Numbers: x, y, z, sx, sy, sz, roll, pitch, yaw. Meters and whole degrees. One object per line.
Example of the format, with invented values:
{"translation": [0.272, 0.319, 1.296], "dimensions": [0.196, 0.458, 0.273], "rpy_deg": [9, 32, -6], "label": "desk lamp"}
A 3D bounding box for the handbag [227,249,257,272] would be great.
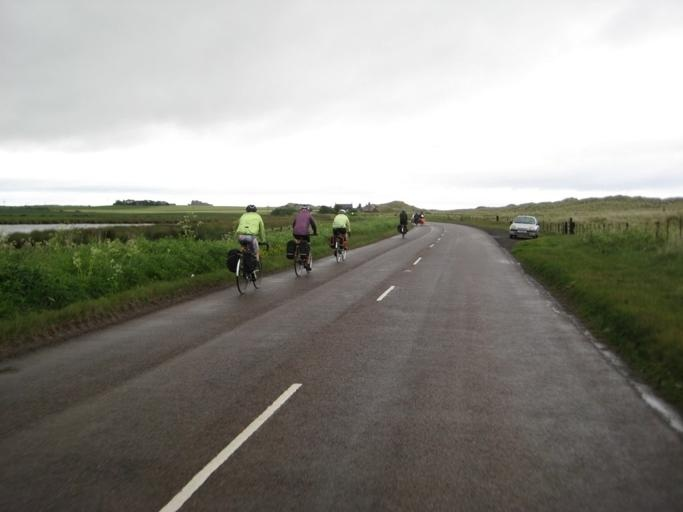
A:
{"translation": [-2.920, 0.120, 14.849], "dimensions": [0.494, 0.428, 0.771], "rpy_deg": [2, -5, -2], "label": "handbag"}

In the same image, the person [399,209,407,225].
{"translation": [5.002, -3.119, 41.736], "dimensions": [0.526, 1.100, 1.526], "rpy_deg": [0, 9, 2], "label": "person"}

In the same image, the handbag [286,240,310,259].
{"translation": [-1.529, -0.301, 17.732], "dimensions": [0.592, 0.694, 0.632], "rpy_deg": [3, 24, 1], "label": "handbag"}

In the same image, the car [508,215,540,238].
{"translation": [13.329, -2.210, 37.108], "dimensions": [1.347, 1.497, 2.715], "rpy_deg": [0, 1, 25], "label": "car"}

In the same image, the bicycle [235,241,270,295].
{"translation": [-2.742, 0.378, 15.042], "dimensions": [0.689, 1.113, 1.571], "rpy_deg": [-1, 0, 6], "label": "bicycle"}

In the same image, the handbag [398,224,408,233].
{"translation": [5.047, -2.365, 42.465], "dimensions": [0.447, 0.644, 0.960], "rpy_deg": [4, 10, 13], "label": "handbag"}

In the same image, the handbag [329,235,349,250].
{"translation": [-0.276, -0.604, 22.280], "dimensions": [0.482, 0.602, 0.875], "rpy_deg": [2, 11, 20], "label": "handbag"}

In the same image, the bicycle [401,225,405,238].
{"translation": [5.103, -2.150, 42.105], "dimensions": [0.334, 0.904, 1.158], "rpy_deg": [0, 9, 4], "label": "bicycle"}
